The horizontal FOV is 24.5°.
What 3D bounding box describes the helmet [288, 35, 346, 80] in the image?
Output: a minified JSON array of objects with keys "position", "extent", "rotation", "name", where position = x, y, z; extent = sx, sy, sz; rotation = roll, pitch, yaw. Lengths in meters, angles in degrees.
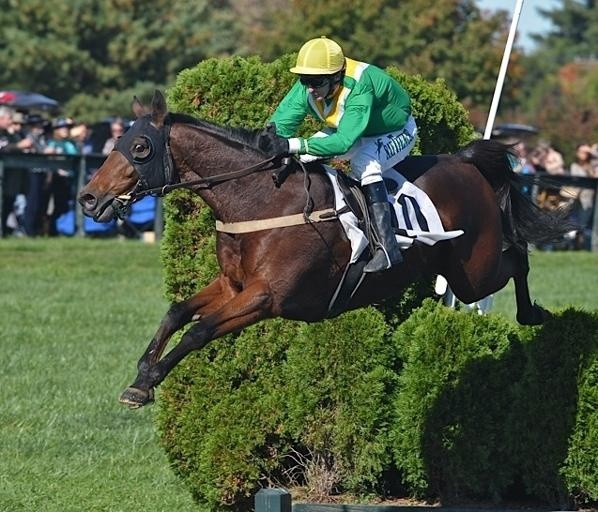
[{"position":[0.278,-1.734,11.867],"extent":[0.521,0.293,0.450],"rotation":[11,20,38],"name":"helmet"}]
